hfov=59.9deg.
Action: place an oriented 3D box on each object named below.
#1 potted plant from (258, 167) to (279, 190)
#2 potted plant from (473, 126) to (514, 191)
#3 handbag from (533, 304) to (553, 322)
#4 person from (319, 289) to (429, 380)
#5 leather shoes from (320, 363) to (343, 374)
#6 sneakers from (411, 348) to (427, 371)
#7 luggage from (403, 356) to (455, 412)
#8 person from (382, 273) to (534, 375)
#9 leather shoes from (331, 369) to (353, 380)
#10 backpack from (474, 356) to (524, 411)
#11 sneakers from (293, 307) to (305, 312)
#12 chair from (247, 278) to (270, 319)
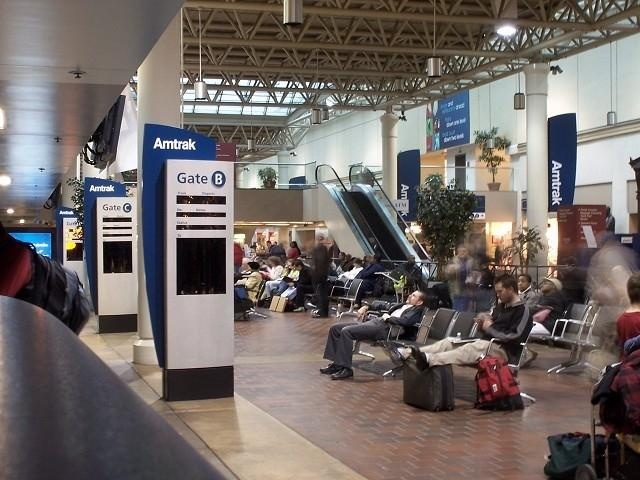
[{"bbox_3d":[-2.468,-2.798,26.715,1.053,1.202,0.872,2,-6,-15],"label":"potted plant"},{"bbox_3d":[7.588,-3.677,24.512,1.422,3.133,1.743,6,-5,30],"label":"potted plant"},{"bbox_3d":[3.777,1.246,9.386,0.093,0.374,0.201,42,-12,-33],"label":"handbag"},{"bbox_3d":[0.743,1.383,8.245,1.309,1.163,1.092,2,-6,-12],"label":"person"},{"bbox_3d":[0.165,1.835,7.988,0.357,0.173,0.127,-1,-7,14],"label":"leather shoes"},{"bbox_3d":[1.137,1.336,6.264,0.139,0.298,0.116,-2,11,43],"label":"sneakers"},{"bbox_3d":[1.251,1.688,6.447,0.330,0.487,0.608,4,-10,-29],"label":"luggage"},{"bbox_3d":[1.840,1.038,6.988,1.649,1.115,0.828,-4,6,-10],"label":"person"},{"bbox_3d":[0.326,1.846,7.680,0.326,0.159,0.125,3,-6,-13],"label":"leather shoes"},{"bbox_3d":[2.020,1.623,6.277,0.483,0.613,0.332,-6,1,4],"label":"backpack"},{"bbox_3d":[-0.562,1.961,15.751,0.292,0.231,0.114,5,-8,-13],"label":"sneakers"},{"bbox_3d":[-1.879,1.573,15.744,0.687,1.187,0.727,-1,-4,11],"label":"chair"}]
